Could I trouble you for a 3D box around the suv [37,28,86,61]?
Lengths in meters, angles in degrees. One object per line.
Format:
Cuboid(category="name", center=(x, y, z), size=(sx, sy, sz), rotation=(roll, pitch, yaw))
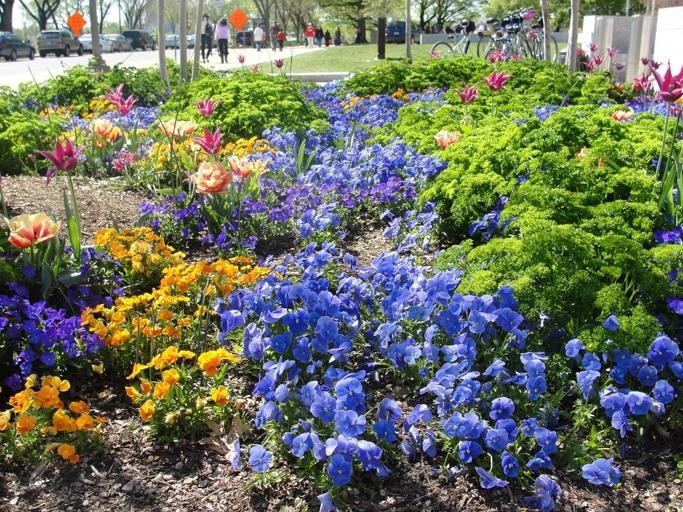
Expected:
Cuboid(category="suv", center=(-15.228, -11.429, 40.474), size=(1.895, 1.499, 3.635), rotation=(-3, 14, -4))
